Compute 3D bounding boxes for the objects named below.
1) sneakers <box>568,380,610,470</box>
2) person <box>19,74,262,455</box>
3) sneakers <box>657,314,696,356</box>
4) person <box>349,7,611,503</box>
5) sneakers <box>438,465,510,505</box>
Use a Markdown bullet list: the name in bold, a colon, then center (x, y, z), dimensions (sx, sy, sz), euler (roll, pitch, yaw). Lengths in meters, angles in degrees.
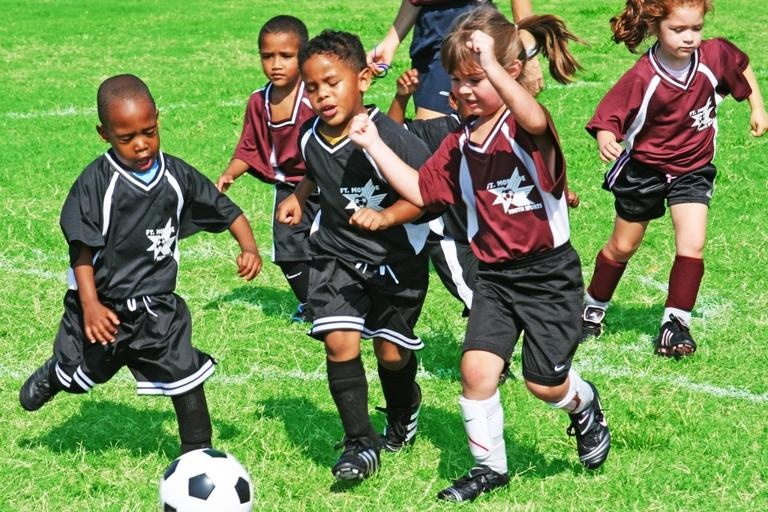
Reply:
- **sneakers**: center (1.236, 1.021, 4.340), dimensions (0.249, 0.528, 0.223), euler (-16, -17, 41)
- **person**: center (-1.482, 0.075, 4.249), dimensions (1.395, 2.151, 0.874), euler (4, 23, 6)
- **sneakers**: center (2.189, 0.616, 5.311), dimensions (0.271, 0.274, 0.233), euler (13, 25, 25)
- **person**: center (0.650, -0.023, 4.079), dimensions (1.113, 2.601, 1.210), euler (-11, 26, -27)
- **sneakers**: center (0.512, 1.277, 4.074), dimensions (0.436, 0.170, 0.159), euler (-14, 17, -12)
